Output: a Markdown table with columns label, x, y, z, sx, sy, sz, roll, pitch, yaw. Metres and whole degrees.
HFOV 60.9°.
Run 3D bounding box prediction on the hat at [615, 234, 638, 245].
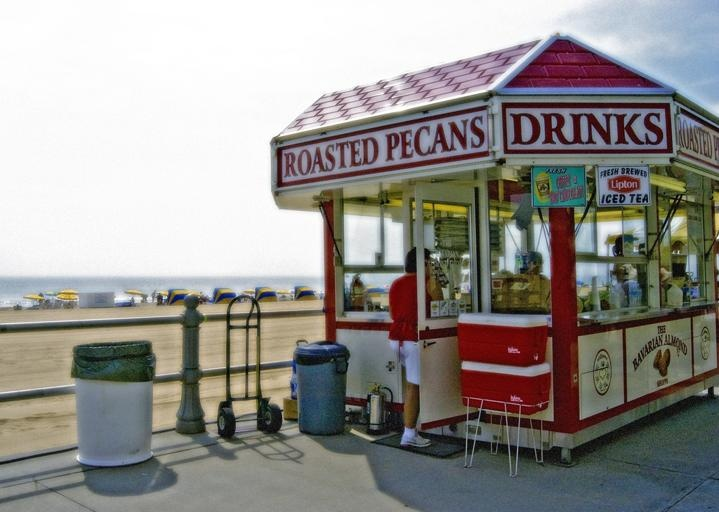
| label | x | y | z | sx | sy | sz | roll | pitch | yaw |
| --- | --- | --- | --- | --- | --- | --- | --- | --- | --- |
| hat | 3.680 | -0.221 | 8.437 | 0.254 | 0.100 | 0.204 | -2 | -2 | 41 |

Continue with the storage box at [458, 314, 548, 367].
| label | x | y | z | sx | sy | sz | roll | pitch | yaw |
| --- | --- | --- | --- | --- | --- | --- | --- | --- | --- |
| storage box | 1.616 | 0.955 | 7.043 | 0.954 | 0.562 | 0.503 | -1 | -2 | 43 |

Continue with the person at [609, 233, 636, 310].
| label | x | y | z | sx | sy | sz | roll | pitch | yaw |
| --- | --- | --- | --- | --- | --- | --- | --- | --- | --- |
| person | 3.656 | 0.219 | 8.472 | 0.349 | 1.113 | 0.312 | 2 | -1 | 1 |

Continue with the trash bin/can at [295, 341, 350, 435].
| label | x | y | z | sx | sy | sz | roll | pitch | yaw |
| --- | --- | --- | --- | --- | --- | --- | --- | --- | --- |
| trash bin/can | -0.475 | 1.656 | 7.878 | 0.836 | 1.125 | 0.693 | 1 | 1 | 37 |

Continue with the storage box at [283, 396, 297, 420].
| label | x | y | z | sx | sy | sz | roll | pitch | yaw |
| --- | --- | --- | --- | --- | --- | --- | --- | --- | --- |
| storage box | -0.930 | 2.055 | 8.297 | 0.236 | 0.254 | 0.247 | 0 | 0 | 9 |

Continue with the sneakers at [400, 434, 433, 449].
| label | x | y | z | sx | sy | sz | roll | pitch | yaw |
| --- | --- | --- | --- | --- | --- | --- | --- | --- | --- |
| sneakers | 0.663 | 2.187 | 7.227 | 0.289 | 0.132 | 0.151 | 0 | -3 | -7 |

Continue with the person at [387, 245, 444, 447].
| label | x | y | z | sx | sy | sz | roll | pitch | yaw |
| --- | --- | --- | --- | --- | --- | --- | --- | --- | --- |
| person | 0.570 | 1.067 | 7.366 | 0.483 | 2.357 | 0.256 | -2 | -3 | 20 |

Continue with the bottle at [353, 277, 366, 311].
| label | x | y | z | sx | sy | sz | roll | pitch | yaw |
| --- | --- | --- | --- | --- | --- | --- | --- | --- | --- |
| bottle | -0.010 | 0.508 | 8.574 | 0.217 | 0.469 | 0.064 | -2 | -3 | 24 |

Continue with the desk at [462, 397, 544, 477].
| label | x | y | z | sx | sy | sz | roll | pitch | yaw |
| --- | --- | --- | --- | --- | --- | --- | --- | --- | --- |
| desk | 1.662 | 2.079 | 6.996 | 0.774 | 0.755 | 0.844 | -4 | -1 | 31 |
